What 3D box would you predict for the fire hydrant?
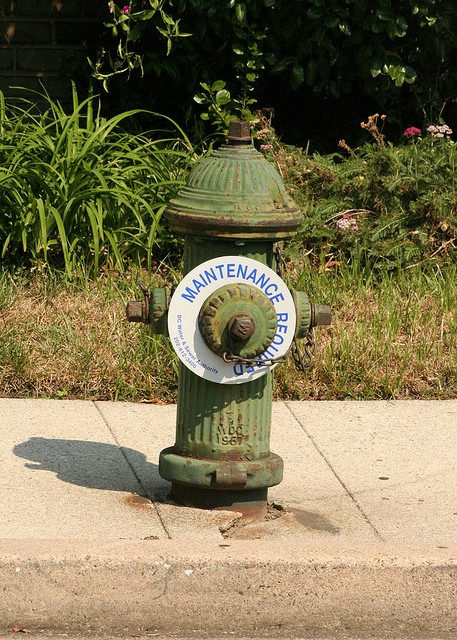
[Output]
[{"bbox_3d":[0.002,0.011,4.038,0.729,1.486,0.393,4,15,4],"label":"fire hydrant"}]
